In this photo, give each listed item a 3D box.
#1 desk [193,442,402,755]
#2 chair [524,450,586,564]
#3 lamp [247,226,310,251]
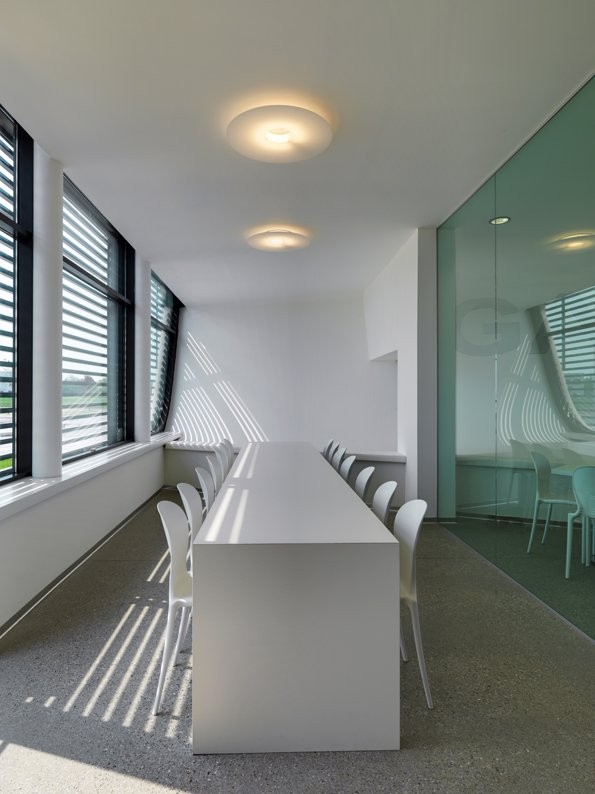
[{"bbox_3d":[-0.011,0.846,2.161,0.754,0.700,0.883,1,1,-2],"label":"desk"},{"bbox_3d":[1.439,0.591,2.955,0.305,0.599,0.363,3,-7,-26],"label":"chair"},{"bbox_3d":[-0.179,-1.508,4.825,0.510,0.145,0.532,0,1,-41],"label":"lamp"}]
